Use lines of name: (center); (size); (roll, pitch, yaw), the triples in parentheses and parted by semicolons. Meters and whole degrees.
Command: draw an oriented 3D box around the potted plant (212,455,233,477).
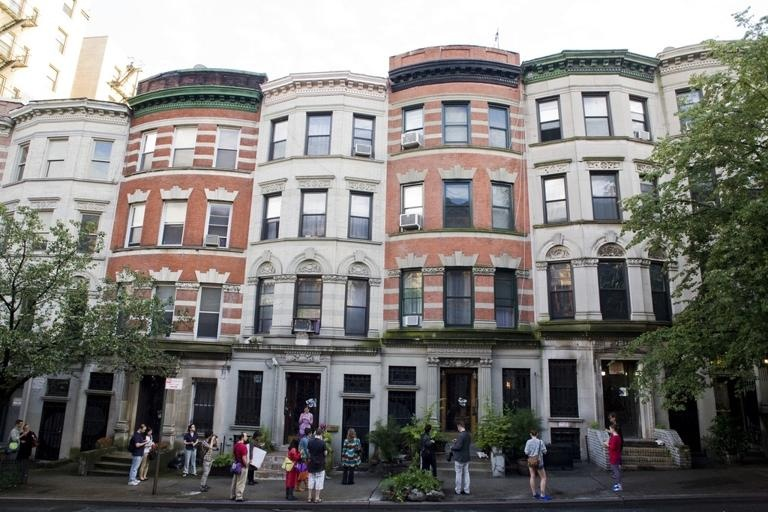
potted plant: (-7.382, 9.675, 27.510); (1.024, 0.911, 0.901); (3, -21, -6)

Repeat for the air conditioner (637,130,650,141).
air conditioner: (13.560, -6.370, 31.423); (0.709, 0.437, 0.373); (2, -11, -13)

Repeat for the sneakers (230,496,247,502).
sneakers: (-5.733, 9.572, 23.529); (0.549, 0.205, 0.188); (2, -9, -4)

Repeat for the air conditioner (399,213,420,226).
air conditioner: (1.370, -1.782, 31.035); (1.174, 0.711, 0.645); (-4, -16, 22)

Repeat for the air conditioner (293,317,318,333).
air conditioner: (-3.858, 3.529, 30.337); (0.939, 0.517, 0.907); (1, -1, 7)

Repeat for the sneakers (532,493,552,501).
sneakers: (6.129, 9.404, 23.273); (0.676, 0.253, 0.215); (-2, -13, 10)

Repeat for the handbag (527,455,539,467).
handbag: (5.889, 8.155, 23.631); (0.348, 0.434, 0.266); (6, -19, -21)

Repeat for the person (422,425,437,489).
person: (1.830, 8.256, 25.430); (0.623, 2.120, 1.107); (-1, -18, 3)

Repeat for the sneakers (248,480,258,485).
sneakers: (-5.730, 9.918, 26.142); (0.441, 0.262, 0.147); (2, -12, -3)

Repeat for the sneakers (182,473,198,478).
sneakers: (-8.953, 10.207, 27.685); (0.665, 0.243, 0.208); (-7, -52, 15)

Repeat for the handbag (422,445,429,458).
handbag: (1.766, 8.293, 25.227); (0.444, 0.597, 0.576); (0, -17, 1)

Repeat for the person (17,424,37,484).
person: (-15.468, 8.573, 25.938); (0.647, 2.458, 0.904); (9, -20, -27)

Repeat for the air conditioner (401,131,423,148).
air conditioner: (1.487, -6.282, 31.893); (1.215, 0.967, 0.479); (-3, -18, 10)

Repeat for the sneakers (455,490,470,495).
sneakers: (3.178, 9.591, 24.131); (0.546, 0.207, 0.172); (4, -19, 10)

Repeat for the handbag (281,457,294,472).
handbag: (-3.823, 8.474, 24.185); (0.548, 0.499, 0.174); (15, -5, 18)

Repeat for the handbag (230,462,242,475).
handbag: (-5.827, 8.400, 23.603); (0.314, 0.472, 0.511); (14, -22, -38)

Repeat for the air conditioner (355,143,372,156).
air conditioner: (-1.111, -5.709, 32.090); (1.237, 0.689, 0.603); (2, -6, -7)

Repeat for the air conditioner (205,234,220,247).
air conditioner: (-9.084, -0.796, 32.064); (0.999, 0.611, 0.534); (1, -6, 2)

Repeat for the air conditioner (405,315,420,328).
air conditioner: (1.451, 3.305, 30.259); (1.052, 0.590, 0.510); (-2, -10, 12)
